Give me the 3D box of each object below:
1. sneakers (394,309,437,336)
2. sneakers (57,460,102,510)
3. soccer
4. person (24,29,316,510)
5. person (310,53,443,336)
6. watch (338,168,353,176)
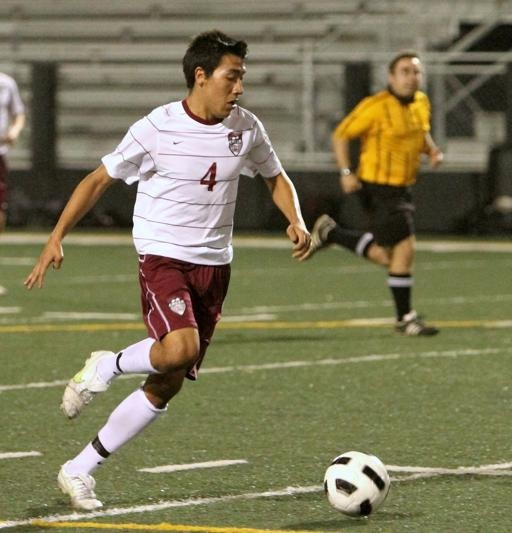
[{"bbox_3d":[1.101,0.395,5.747,0.308,0.174,0.158,2,9,37],"label":"sneakers"},{"bbox_3d":[-0.657,0.811,3.081,0.224,0.079,0.085,34,37,29],"label":"sneakers"},{"bbox_3d":[0.353,0.748,2.914,0.245,0.175,0.245,-2,10,16],"label":"soccer"},{"bbox_3d":[-0.301,-0.028,3.225,1.145,1.750,0.635,-6,8,-17],"label":"person"},{"bbox_3d":[0.917,-0.561,6.248,0.681,1.968,1.551,-7,8,-21],"label":"person"},{"bbox_3d":[0.642,-0.691,6.133,0.084,0.056,0.068,0,-11,6],"label":"watch"}]
